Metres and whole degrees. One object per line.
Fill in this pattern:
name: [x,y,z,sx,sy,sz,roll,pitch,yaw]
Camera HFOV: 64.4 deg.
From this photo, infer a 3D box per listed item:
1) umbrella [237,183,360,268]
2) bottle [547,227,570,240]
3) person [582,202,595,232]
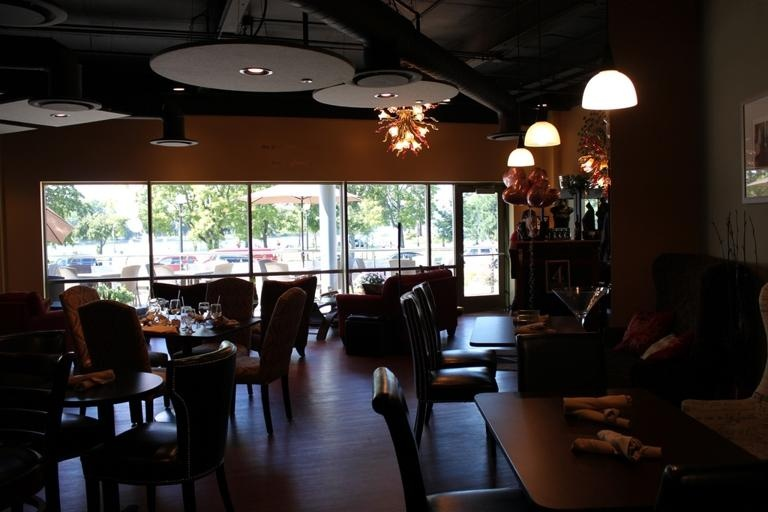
umbrella: [-1.809,-0.571,11.221,1.455,1.218,1.396,-1,-2,6]
bottle: [2.238,-0.291,7.761,0.186,0.111,0.183,1,-3,0]
person: [2.804,-0.546,8.307,0.138,0.425,1.041,-1,1,18]
